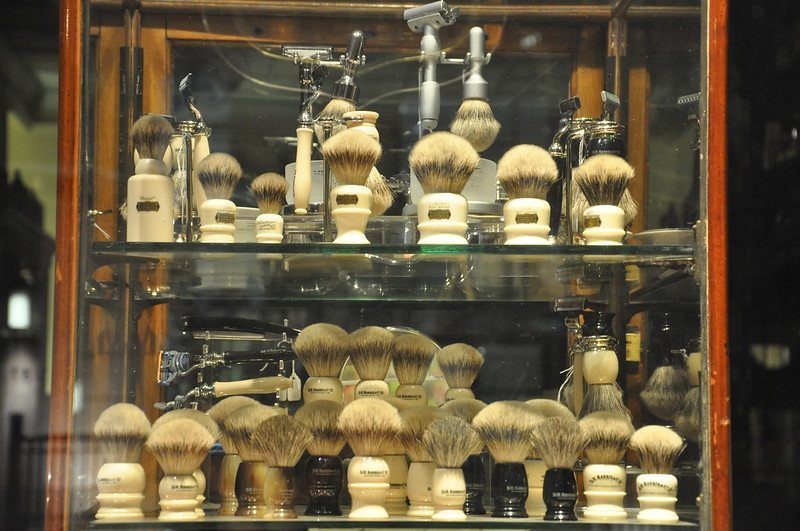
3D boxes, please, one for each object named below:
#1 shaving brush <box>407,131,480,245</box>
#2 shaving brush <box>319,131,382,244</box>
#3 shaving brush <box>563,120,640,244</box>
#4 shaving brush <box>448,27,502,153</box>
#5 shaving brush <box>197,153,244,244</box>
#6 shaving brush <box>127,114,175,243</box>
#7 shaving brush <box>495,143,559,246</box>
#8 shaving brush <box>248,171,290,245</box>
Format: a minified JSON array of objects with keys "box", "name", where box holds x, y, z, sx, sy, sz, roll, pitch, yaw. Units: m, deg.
[{"box":[0.083,-0.149,2.959,0.132,0.241,0.147,2,-7,0],"name":"shaving brush"},{"box":[-0.101,-0.158,2.948,0.114,0.247,0.091,3,-7,-6],"name":"shaving brush"},{"box":[0.409,-0.159,3.001,0.172,0.299,0.167,6,-33,-3],"name":"shaving brush"},{"box":[0.158,-0.370,3.131,0.109,0.256,0.111,0,5,-5],"name":"shaving brush"},{"box":[-0.371,-0.139,3.018,0.095,0.185,0.091,1,-1,-19],"name":"shaving brush"},{"box":[-0.500,-0.177,2.986,0.095,0.258,0.046,3,-7,-11],"name":"shaving brush"},{"box":[0.255,-0.138,2.982,0.120,0.219,0.160,1,-7,5],"name":"shaving brush"},{"box":[-0.266,-0.114,3.041,0.086,0.149,0.086,-2,-6,12],"name":"shaving brush"}]
